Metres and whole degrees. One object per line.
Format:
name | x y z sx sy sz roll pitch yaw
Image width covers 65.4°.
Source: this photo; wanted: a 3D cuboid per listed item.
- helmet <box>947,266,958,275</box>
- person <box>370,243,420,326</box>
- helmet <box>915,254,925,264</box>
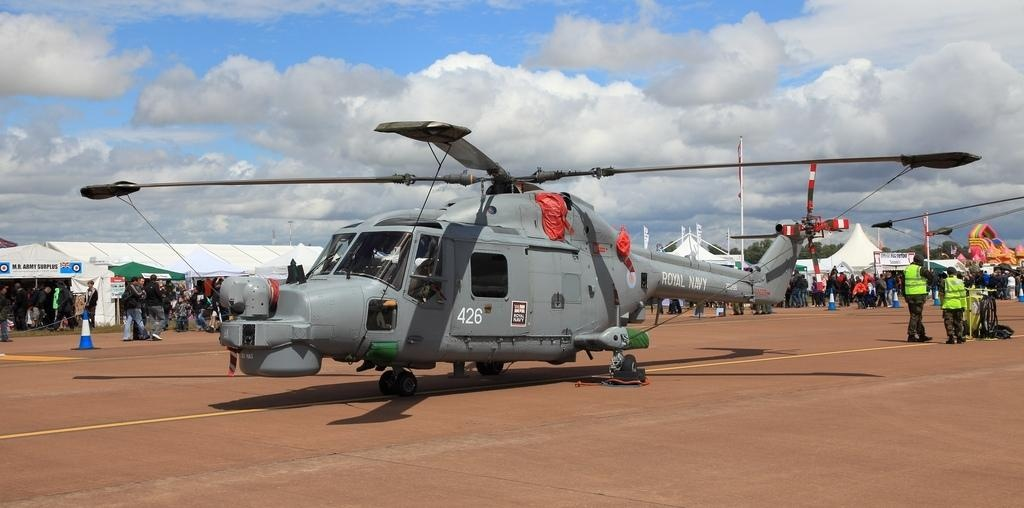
helmet | 15.356 0.561 27.873 0.365 0.261 0.360 -11 -16 42
person | -2.537 0.497 18.478 0.529 1.278 2.145 43 -22 9
helmet | 13.761 0.177 26.966 0.329 0.225 0.369 5 8 26
